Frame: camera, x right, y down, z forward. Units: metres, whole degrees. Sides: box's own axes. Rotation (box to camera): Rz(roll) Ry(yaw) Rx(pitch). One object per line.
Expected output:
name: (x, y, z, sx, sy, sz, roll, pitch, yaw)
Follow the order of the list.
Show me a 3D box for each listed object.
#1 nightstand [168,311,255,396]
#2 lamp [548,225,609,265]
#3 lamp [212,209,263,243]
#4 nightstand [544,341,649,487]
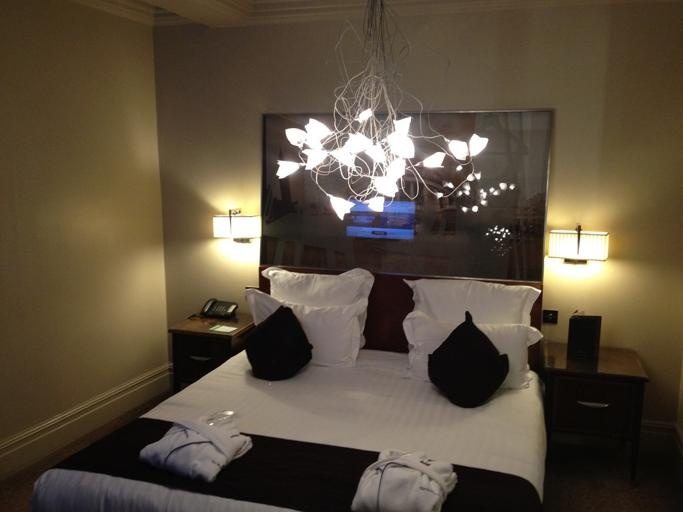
nightstand: (-1.174, 0.860, 4.847, 0.572, 0.895, 0.705, 1, 5, 18)
lamp: (1.838, -0.102, 4.023, 0.414, 0.259, 0.107, 4, 9, 20)
lamp: (-0.954, -0.269, 4.733, 0.469, 0.402, 0.267, 1, 9, 5)
nightstand: (1.944, 1.155, 4.227, 0.878, 0.988, 0.824, 2, 7, 20)
